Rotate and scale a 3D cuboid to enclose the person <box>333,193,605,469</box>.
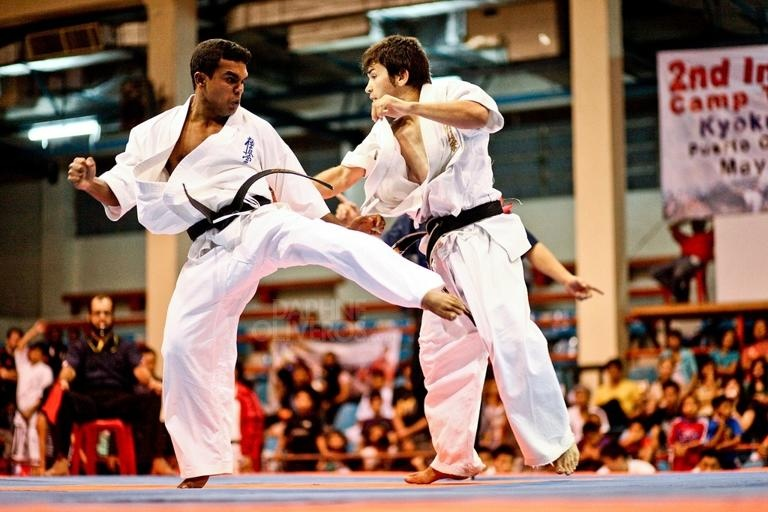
[{"bbox_3d":[0.842,0.738,10.923,1.174,2.134,0.440,-6,-3,36],"label":"person"}]

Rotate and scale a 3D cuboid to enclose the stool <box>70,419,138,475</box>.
[{"bbox_3d":[-2.640,1.830,12.724,0.605,0.591,0.547,1,-13,-6],"label":"stool"}]
